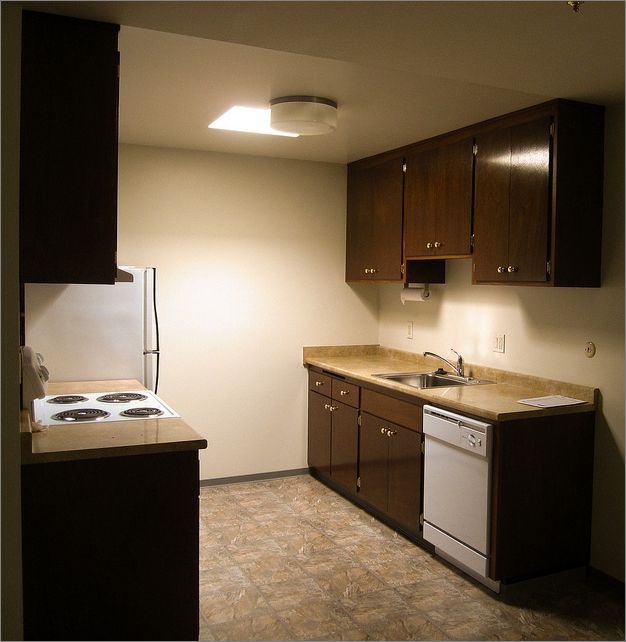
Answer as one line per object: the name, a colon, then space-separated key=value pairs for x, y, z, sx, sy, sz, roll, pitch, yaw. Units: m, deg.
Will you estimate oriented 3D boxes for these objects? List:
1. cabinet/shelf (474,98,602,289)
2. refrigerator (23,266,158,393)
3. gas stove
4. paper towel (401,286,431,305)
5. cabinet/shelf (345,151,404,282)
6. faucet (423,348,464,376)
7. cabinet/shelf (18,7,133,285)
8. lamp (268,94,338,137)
cabinet/shelf: x=1.125 y=-0.638 z=2.826 sx=0.343 sy=1.161 sz=0.756 roll=0 pitch=2 yaw=-17
refrigerator: x=-1.214 y=-0.016 z=3.323 sx=0.608 sy=1.189 sz=0.564 roll=-1 pitch=3 yaw=-5
gas stove: x=-0.967 y=0.387 z=2.642 sx=0.562 sy=0.045 sz=0.679 roll=-1 pitch=3 yaw=-29
paper towel: x=0.692 y=-0.192 z=3.944 sx=0.152 sy=0.092 sz=0.266 roll=0 pitch=2 yaw=-12
cabinet/shelf: x=0.457 y=-0.771 z=4.163 sx=0.280 sy=1.021 sz=0.784 roll=0 pitch=3 yaw=-17
faucet: x=0.880 y=0.262 z=3.781 sx=0.204 sy=0.154 sz=0.397 roll=1 pitch=2 yaw=13
cabinet/shelf: x=-0.796 y=-0.734 z=1.961 sx=0.279 sy=0.611 sz=0.283 roll=-2 pitch=29 yaw=-26
lamp: x=-0.048 y=-1.047 z=2.895 sx=0.333 sy=0.134 sz=0.163 roll=0 pitch=2 yaw=-6
